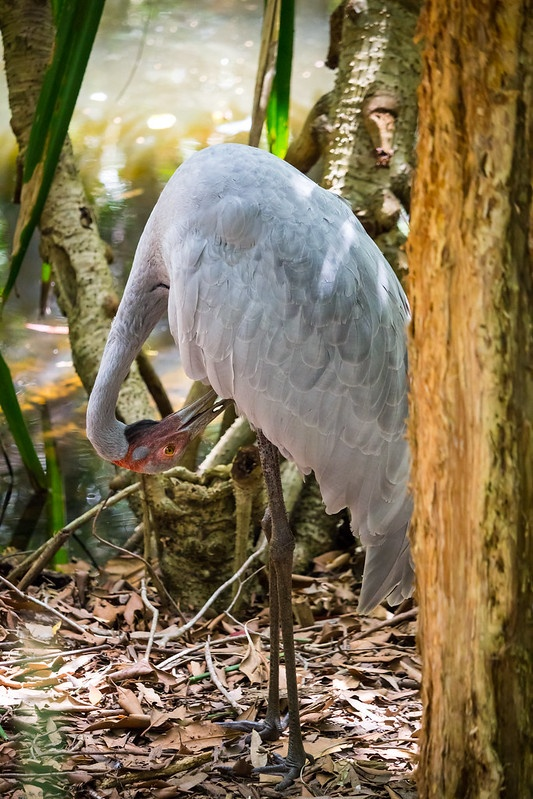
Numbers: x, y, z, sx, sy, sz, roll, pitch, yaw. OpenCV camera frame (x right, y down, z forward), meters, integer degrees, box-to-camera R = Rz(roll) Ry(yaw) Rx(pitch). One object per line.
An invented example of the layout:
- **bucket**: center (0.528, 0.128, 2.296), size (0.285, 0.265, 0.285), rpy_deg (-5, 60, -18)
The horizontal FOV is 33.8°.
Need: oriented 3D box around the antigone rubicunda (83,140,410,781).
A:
- **antigone rubicunda**: center (-0.069, 0.070, 2.093), size (0.764, 1.336, 0.512), rpy_deg (11, 14, 31)
